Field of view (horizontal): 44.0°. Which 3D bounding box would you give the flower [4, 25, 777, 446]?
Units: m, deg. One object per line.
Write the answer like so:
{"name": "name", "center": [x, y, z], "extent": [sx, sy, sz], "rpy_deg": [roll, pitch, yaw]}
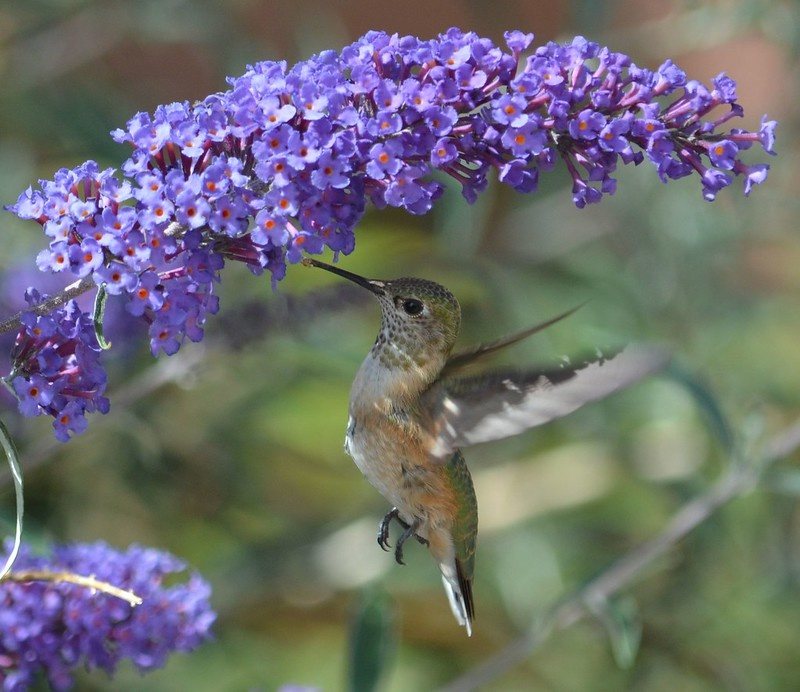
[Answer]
{"name": "flower", "center": [-0.046, -0.308, 1.727], "extent": [1.247, 0.381, 0.344], "rpy_deg": [-12, 37, -5]}
